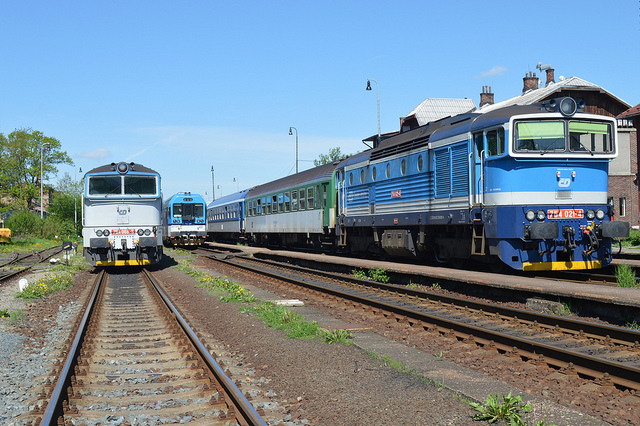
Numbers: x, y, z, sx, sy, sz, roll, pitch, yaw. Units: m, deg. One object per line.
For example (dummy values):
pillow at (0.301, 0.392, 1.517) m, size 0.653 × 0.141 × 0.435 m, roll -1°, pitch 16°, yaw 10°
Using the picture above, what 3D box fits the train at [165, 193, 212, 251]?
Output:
train at (-12.861, 0.422, 40.997) m, size 3.113 × 4.389 × 11.324 m, roll 0°, pitch 0°, yaw -29°

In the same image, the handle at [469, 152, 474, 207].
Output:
handle at (4.560, -1.003, 14.160) m, size 0.112 × 1.641 × 0.219 m, roll -1°, pitch 2°, yaw 18°

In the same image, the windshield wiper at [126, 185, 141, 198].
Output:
windshield wiper at (-7.776, -0.847, 19.253) m, size 0.070 × 0.644 × 0.075 m, roll -46°, pitch 0°, yaw 10°

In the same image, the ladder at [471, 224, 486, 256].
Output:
ladder at (4.782, 0.827, 14.146) m, size 0.212 × 0.937 × 0.676 m, roll -2°, pitch 2°, yaw -7°

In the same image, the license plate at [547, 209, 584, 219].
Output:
license plate at (6.897, 0.053, 13.156) m, size 1.090 × 0.266 × 0.040 m, roll -2°, pitch 2°, yaw -9°

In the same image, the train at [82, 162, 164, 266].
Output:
train at (-8.139, 0.097, 19.176) m, size 3.005 × 4.204 × 1.262 m, roll -3°, pitch 2°, yaw -27°
